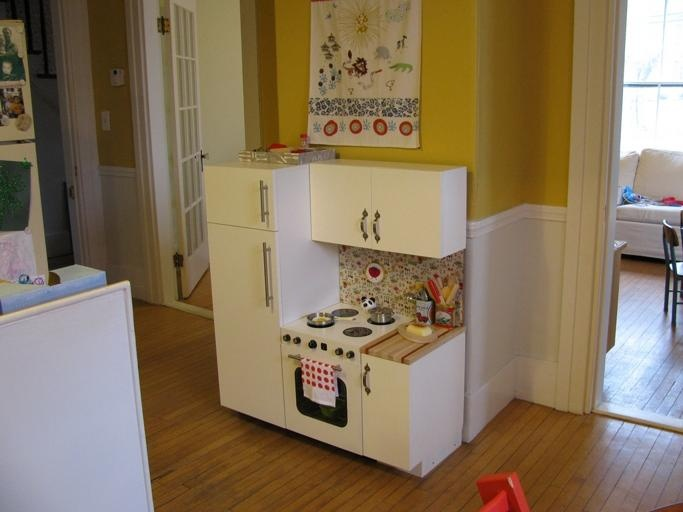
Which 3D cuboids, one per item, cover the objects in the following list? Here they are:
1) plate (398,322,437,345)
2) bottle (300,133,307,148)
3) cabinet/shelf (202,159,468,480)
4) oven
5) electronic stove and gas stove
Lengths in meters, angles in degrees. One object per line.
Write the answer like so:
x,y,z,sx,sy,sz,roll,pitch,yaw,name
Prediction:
0.416,0.410,2.990,0.211,0.057,0.201,0,18,7,plate
-0.239,-0.734,3.469,0.044,0.077,0.139,-4,17,-6,bottle
0.005,0.342,3.072,1.388,1.682,0.617,8,13,35,cabinet/shelf
-0.055,0.793,3.215,0.527,0.562,0.398,7,9,26,oven
0.030,0.454,3.202,0.614,0.188,0.538,8,20,28,electronic stove and gas stove
